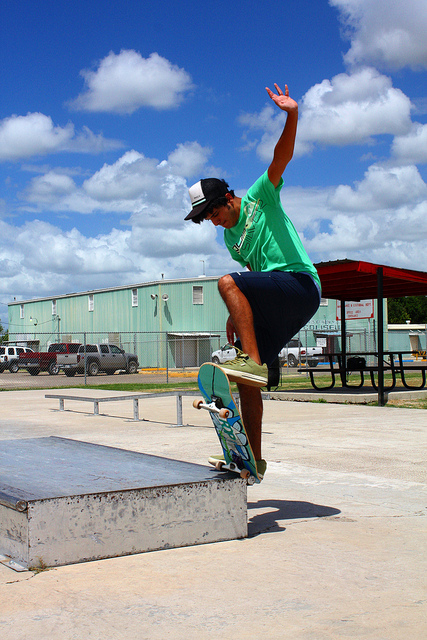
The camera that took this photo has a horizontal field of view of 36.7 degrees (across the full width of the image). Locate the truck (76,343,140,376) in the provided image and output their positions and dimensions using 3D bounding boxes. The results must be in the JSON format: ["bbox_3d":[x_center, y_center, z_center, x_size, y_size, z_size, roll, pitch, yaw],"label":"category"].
[{"bbox_3d":[-5.094,1.837,29.982,1.038,1.482,3.440,-8,-6,40],"label":"truck"}]

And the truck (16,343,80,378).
[{"bbox_3d":[-7.486,1.821,29.855,3.012,1.085,1.552,0,-2,-42],"label":"truck"}]

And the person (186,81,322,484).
[{"bbox_3d":[0.204,-0.176,3.173,0.651,1.975,0.875,-5,-4,7],"label":"person"}]
